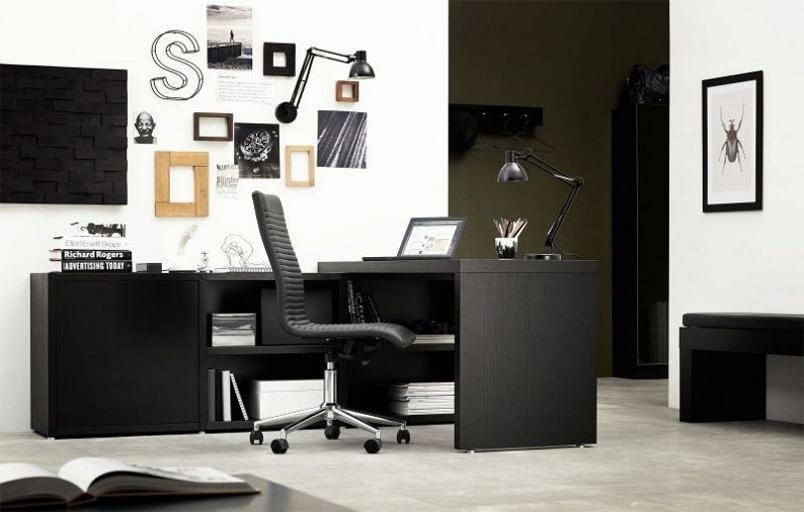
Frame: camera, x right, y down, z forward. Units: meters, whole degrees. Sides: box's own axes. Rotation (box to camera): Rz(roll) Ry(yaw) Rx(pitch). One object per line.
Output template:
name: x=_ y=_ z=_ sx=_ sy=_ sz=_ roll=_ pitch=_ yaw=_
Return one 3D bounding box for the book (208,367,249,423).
book: x=-1.194 y=0.925 z=5.510 sx=0.323 sy=0.409 sz=0.431 roll=-1 pitch=-3 yaw=-20

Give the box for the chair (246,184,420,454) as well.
chair: x=-0.457 y=0.404 z=4.990 sx=1.019 sy=1.593 sz=0.762 roll=0 pitch=-1 yaw=0

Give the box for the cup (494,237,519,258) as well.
cup: x=0.661 y=-0.049 z=5.046 sx=0.147 sy=0.113 sz=0.133 roll=-1 pitch=1 yaw=0

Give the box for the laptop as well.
laptop: x=0.195 y=-0.122 z=5.517 sx=0.452 sy=0.264 sz=0.418 roll=-3 pitch=-7 yaw=43
